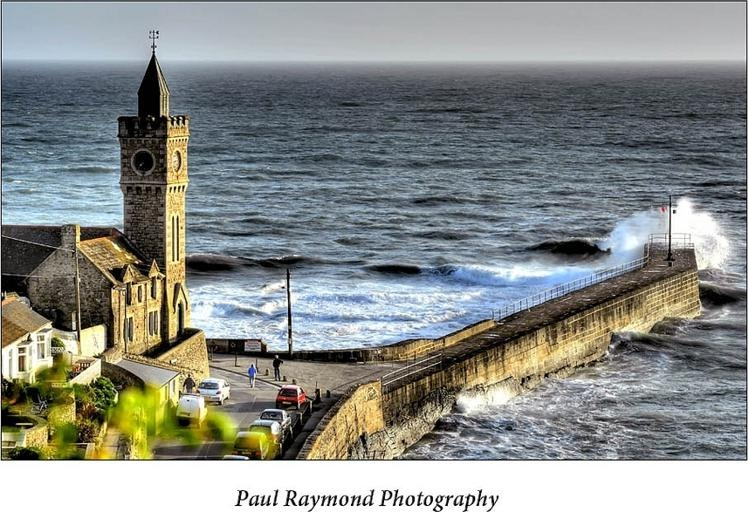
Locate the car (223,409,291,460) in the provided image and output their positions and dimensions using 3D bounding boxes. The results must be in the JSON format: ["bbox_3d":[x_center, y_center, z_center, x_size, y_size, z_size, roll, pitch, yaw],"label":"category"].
[{"bbox_3d":[-4.506,7.296,40.106,0.974,0.678,2.657,6,14,8],"label":"car"}]
